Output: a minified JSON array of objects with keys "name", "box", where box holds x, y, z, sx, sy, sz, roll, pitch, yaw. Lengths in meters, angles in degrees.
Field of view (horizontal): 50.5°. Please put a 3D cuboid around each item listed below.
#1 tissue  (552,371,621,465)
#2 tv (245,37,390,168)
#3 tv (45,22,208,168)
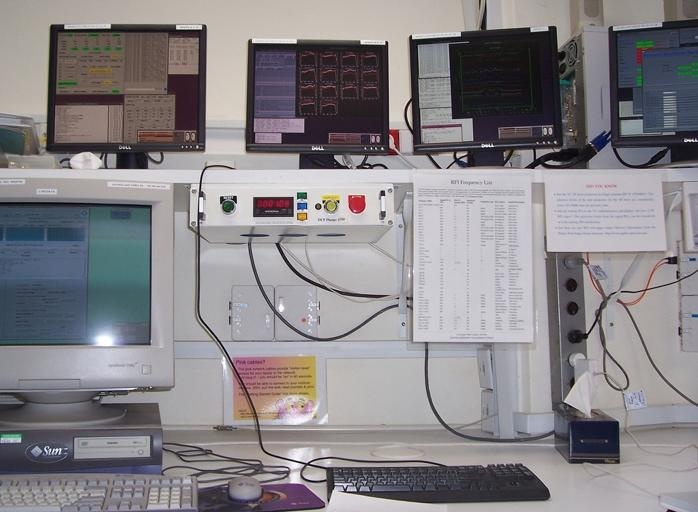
[{"name":"tissue ","box":[0.748,0.531,2.456,0.246,0.252,0.245,0,0,-2]},{"name":"tv","box":[-0.109,-0.530,2.532,0.531,0.437,0.148,1,5,2]},{"name":"tv","box":[-0.750,-0.565,2.493,0.520,0.438,0.081,1,6,-2]}]
